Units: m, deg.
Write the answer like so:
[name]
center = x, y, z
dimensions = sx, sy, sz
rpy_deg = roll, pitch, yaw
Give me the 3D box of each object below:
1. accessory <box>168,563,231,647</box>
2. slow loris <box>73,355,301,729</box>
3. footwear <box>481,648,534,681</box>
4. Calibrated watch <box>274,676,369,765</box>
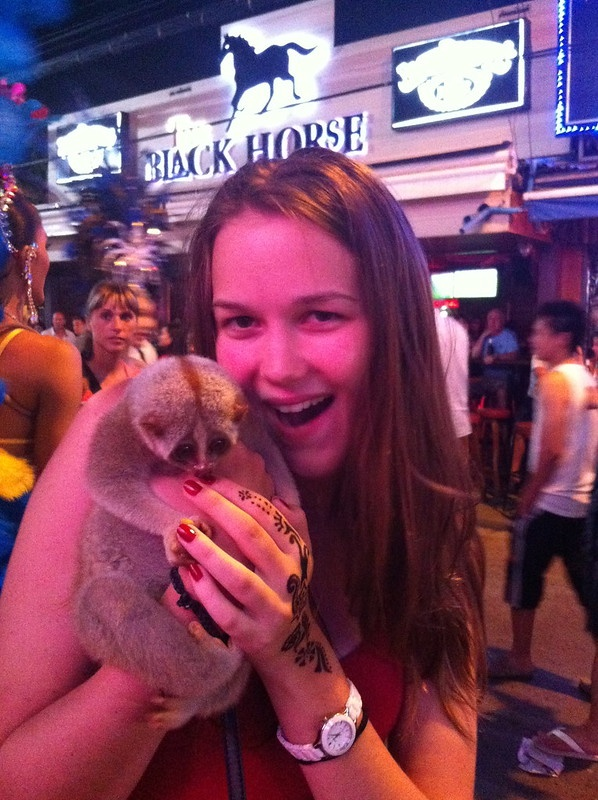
[accessory]
center = -0.178, 0.369, 1.195
dimensions = 0.099, 0.142, 0.060
rpy_deg = -2, 5, -7
[slow loris]
center = -0.213, 0.216, 1.311
dimensions = 0.399, 0.419, 0.742
rpy_deg = -1, 41, -21
[footwear]
center = 1.324, 1.648, 4.209
dimensions = 0.280, 0.139, 0.334
rpy_deg = 0, 6, 19
[Calibrated watch]
center = 0.044, 0.594, 1.244
dimensions = 0.121, 0.060, 0.135
rpy_deg = -26, 15, 46
